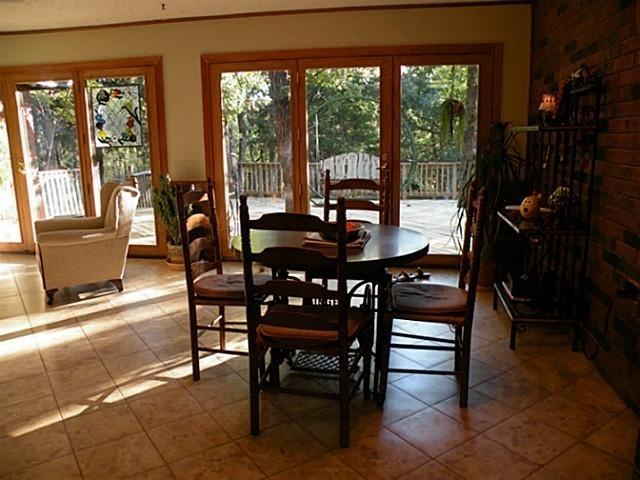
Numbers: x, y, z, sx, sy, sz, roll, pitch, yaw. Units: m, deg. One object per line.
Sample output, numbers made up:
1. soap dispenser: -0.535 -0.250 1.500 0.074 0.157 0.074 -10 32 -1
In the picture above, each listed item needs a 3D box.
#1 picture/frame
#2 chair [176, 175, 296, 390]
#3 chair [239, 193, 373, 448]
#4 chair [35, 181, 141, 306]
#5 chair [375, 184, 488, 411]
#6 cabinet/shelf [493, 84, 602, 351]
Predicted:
1. picture/frame: -2.517 -1.576 6.236 0.783 0.919 0.039 4 24 7
2. chair: -0.664 0.319 3.699 0.689 1.310 0.663 0 7 -17
3. chair: -0.087 0.382 3.142 0.830 1.430 0.921 -1 13 5
4. chair: -2.464 -0.017 5.263 0.982 1.095 1.071 11 13 43
5. chair: 0.750 0.307 3.376 0.662 1.362 0.940 2 14 17
6. cabinet/shelf: 1.780 -0.223 4.037 0.644 1.931 1.318 2 14 17
